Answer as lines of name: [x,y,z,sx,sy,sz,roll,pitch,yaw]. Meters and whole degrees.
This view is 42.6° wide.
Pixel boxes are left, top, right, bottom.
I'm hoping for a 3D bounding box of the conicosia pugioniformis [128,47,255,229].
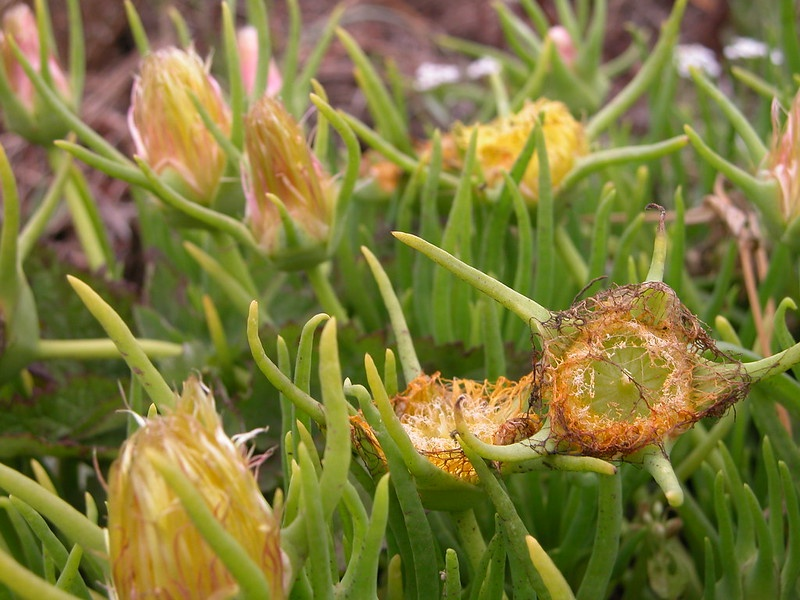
conicosia pugioniformis: [-0.199,-0.154,0.952,0.094,0.125,0.104,-20,51,-14]
